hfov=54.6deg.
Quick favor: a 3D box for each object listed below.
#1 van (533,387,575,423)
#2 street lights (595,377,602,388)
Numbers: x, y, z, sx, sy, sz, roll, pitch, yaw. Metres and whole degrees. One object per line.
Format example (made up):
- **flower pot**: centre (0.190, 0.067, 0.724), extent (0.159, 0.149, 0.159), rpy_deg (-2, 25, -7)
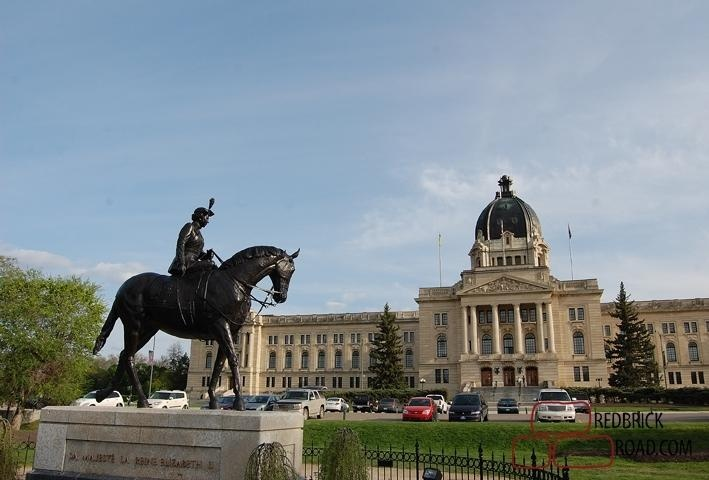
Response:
- **van**: centre (13.655, 11.344, 47.211), extent (2.373, 2.011, 6.661), rpy_deg (-4, -14, 15)
- **street lights**: centre (29.384, 17.092, 83.145), extent (0.826, 0.998, 0.485), rpy_deg (-5, -15, 17)
